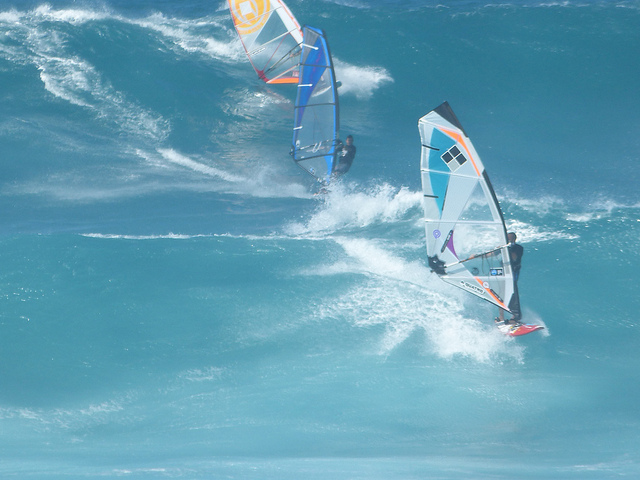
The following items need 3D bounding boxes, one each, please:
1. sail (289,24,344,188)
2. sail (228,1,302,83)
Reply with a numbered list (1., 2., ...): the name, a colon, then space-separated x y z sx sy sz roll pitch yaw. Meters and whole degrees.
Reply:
1. sail: -0.265 -6.464 45.499 2.233 7.473 2.868 -1 34 0
2. sail: -2.711 -10.816 51.622 2.227 4.319 3.821 -24 37 -31
